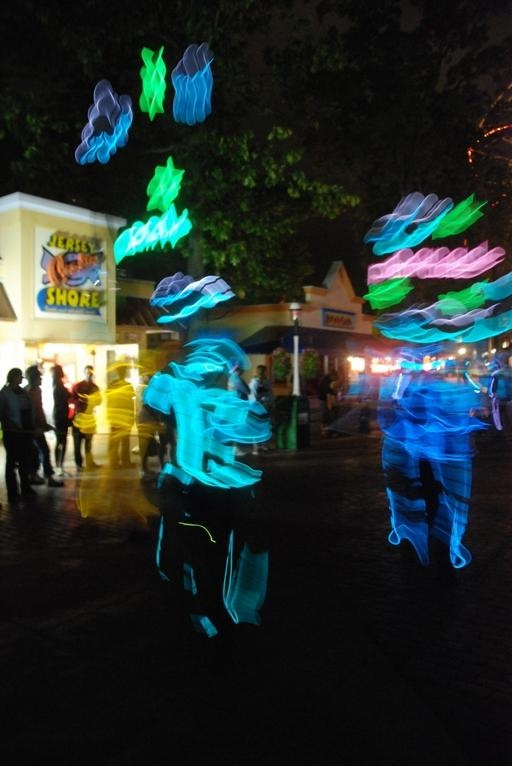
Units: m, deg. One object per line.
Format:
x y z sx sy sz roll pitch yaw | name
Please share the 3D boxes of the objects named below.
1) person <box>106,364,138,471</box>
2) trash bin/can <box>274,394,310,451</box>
-2.660 0.652 11.174 0.564 2.047 1.275 0 -1 -15 | person
0.895 0.955 14.185 0.831 1.294 0.659 0 -1 1 | trash bin/can
